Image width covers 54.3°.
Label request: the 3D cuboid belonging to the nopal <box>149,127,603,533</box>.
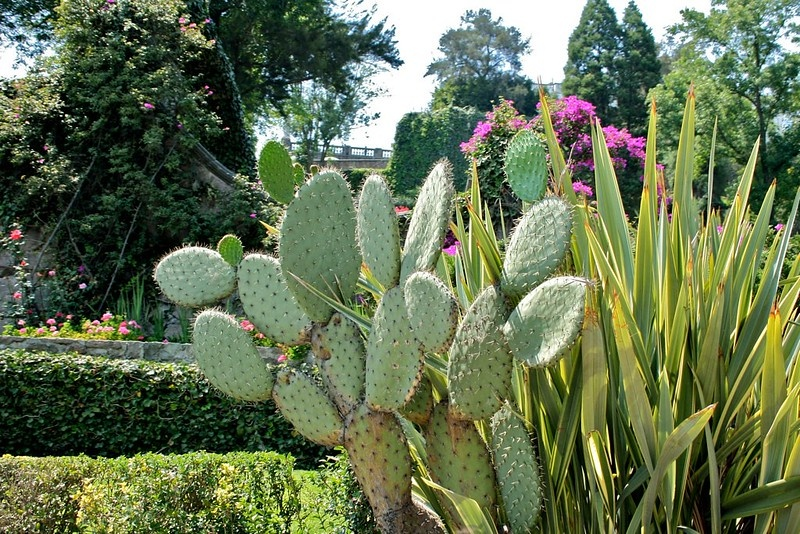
[{"bbox_3d":[-0.337,0.703,7.068,3.903,3.984,1.151,5,0,27],"label":"nopal"}]
